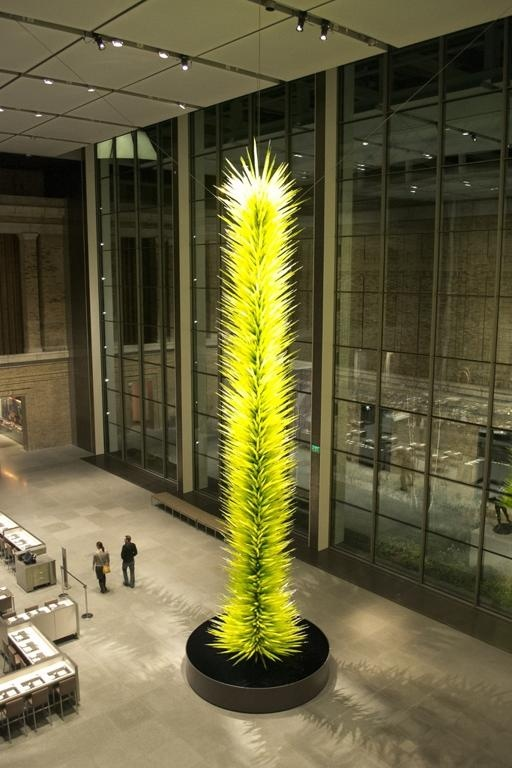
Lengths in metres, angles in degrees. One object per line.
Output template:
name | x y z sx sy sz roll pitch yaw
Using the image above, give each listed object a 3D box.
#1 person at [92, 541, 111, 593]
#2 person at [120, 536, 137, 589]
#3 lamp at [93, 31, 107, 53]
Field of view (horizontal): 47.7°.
person | -2.918 3.349 10.988 0.243 1.027 1.125 -2 5 -16
person | -2.433 3.330 11.141 0.252 1.037 0.576 -1 5 -13
lamp | -2.205 -4.825 8.193 0.081 0.209 0.146 -12 14 24
